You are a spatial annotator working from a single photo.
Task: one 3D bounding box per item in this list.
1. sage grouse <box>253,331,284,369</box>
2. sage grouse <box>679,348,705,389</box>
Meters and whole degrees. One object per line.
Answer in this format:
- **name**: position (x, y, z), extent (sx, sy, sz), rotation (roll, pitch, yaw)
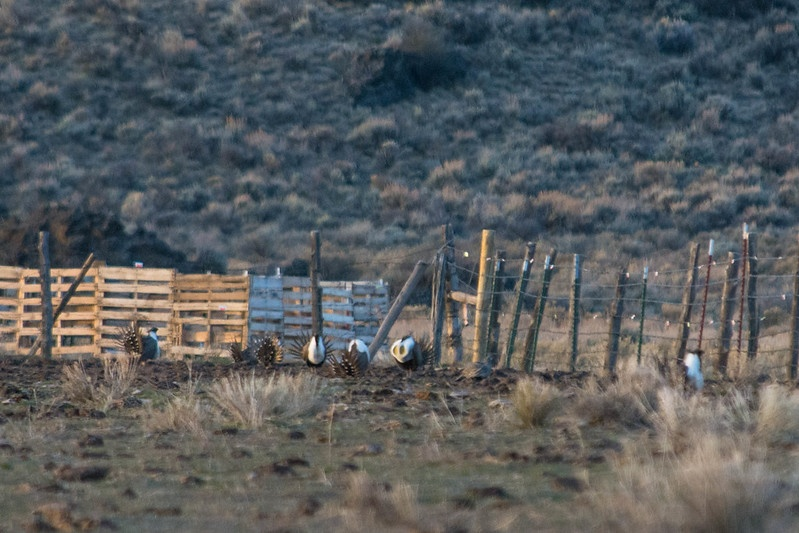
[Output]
- **sage grouse**: position (-6.154, 3.895, 89.990), extent (1.165, 1.548, 0.773), rotation (1, 4, 14)
- **sage grouse**: position (13.007, 4.650, 86.445), extent (0.545, 2.307, 1.139), rotation (1, -8, 34)
